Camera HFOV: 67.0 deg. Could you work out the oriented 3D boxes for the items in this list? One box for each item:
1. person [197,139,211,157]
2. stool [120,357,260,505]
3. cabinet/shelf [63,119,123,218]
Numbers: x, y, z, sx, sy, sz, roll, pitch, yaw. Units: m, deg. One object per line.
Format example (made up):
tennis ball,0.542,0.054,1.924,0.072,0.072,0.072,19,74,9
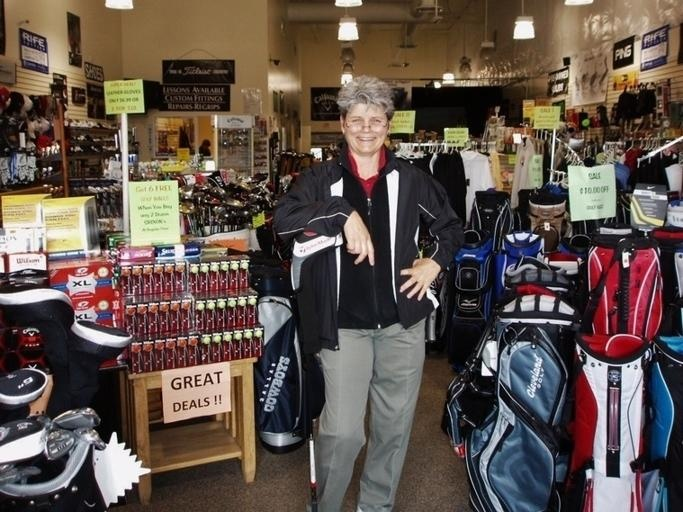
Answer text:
person,-2.778,-2.229,10.562,0.229,0.374,0.779,-5,7,-12
stool,-0.887,0.951,3.032,0.788,0.838,0.702,-4,9,-25
cabinet/shelf,-3.889,-1.476,7.817,0.610,1.170,1.130,-1,18,-28
